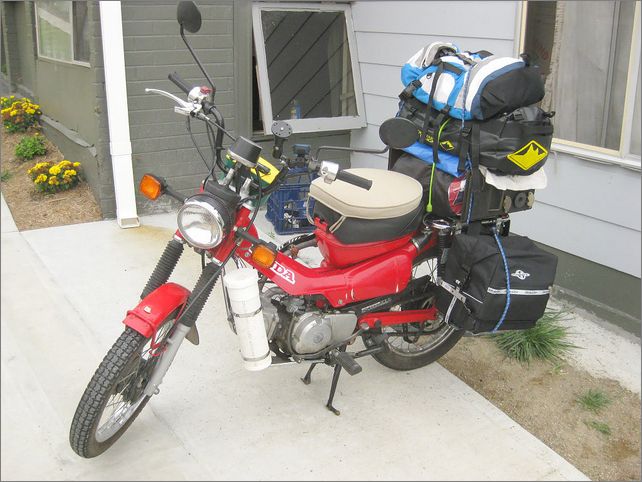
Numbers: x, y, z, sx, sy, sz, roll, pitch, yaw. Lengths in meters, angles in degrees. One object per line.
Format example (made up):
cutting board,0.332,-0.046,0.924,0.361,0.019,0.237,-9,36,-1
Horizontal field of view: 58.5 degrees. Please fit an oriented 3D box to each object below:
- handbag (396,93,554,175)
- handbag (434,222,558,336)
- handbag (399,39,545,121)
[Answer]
handbag,0.966,-0.726,3.706,0.645,0.448,1.025,-8,22,-35
handbag,1.089,0.265,3.553,0.608,0.630,0.445,2,19,-29
handbag,0.922,-1.041,3.615,0.625,0.393,0.913,-22,35,-28
